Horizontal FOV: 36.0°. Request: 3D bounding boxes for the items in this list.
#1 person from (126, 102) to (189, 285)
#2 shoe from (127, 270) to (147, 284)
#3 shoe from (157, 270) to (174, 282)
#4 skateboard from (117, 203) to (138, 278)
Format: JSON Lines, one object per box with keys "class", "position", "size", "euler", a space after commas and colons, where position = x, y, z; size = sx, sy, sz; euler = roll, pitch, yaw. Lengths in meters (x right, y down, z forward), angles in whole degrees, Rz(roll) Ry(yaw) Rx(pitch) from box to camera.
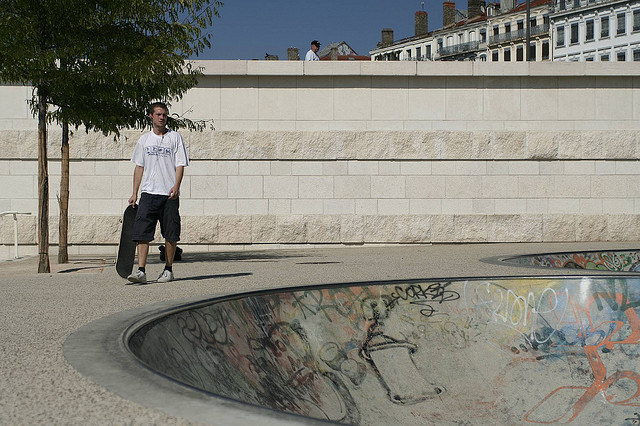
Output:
{"class": "person", "position": [-2.342, -0.293, 14.178], "size": [0.905, 2.591, 0.501], "euler": [-3, 6, -10]}
{"class": "shoe", "position": [-2.608, 0.917, 14.133], "size": [0.295, 0.144, 0.128], "euler": [23, -25, -38]}
{"class": "shoe", "position": [-2.265, 0.903, 14.422], "size": [0.289, 0.160, 0.205], "euler": [-5, 7, -25]}
{"class": "skateboard", "position": [-2.876, 0.452, 14.646], "size": [0.280, 1.230, 0.180], "euler": [3, 1, -19]}
